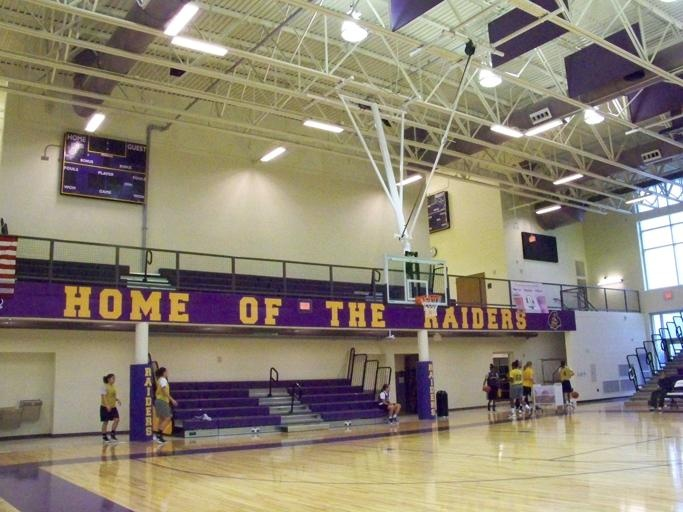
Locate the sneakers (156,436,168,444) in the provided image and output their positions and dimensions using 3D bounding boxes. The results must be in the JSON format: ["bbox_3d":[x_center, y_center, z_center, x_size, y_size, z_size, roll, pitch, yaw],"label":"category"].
[{"bbox_3d":[-5.079,5.201,14.484,0.376,0.174,0.186,-4,-7,44],"label":"sneakers"}]

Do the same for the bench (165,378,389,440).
[{"bbox_3d":[-2.334,5.089,17.597,6.628,1.891,2.333,2,-11,-26],"label":"bench"}]

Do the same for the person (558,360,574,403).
[{"bbox_3d":[9.045,5.020,20.386,0.445,1.653,0.779,-7,-11,22],"label":"person"}]

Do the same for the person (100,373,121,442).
[{"bbox_3d":[-6.638,4.346,14.684,0.425,1.874,1.338,2,-11,-24],"label":"person"}]

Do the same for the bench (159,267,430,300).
[{"bbox_3d":[-2.276,1.075,19.765,8.836,1.326,2.435,3,-12,-30],"label":"bench"}]
